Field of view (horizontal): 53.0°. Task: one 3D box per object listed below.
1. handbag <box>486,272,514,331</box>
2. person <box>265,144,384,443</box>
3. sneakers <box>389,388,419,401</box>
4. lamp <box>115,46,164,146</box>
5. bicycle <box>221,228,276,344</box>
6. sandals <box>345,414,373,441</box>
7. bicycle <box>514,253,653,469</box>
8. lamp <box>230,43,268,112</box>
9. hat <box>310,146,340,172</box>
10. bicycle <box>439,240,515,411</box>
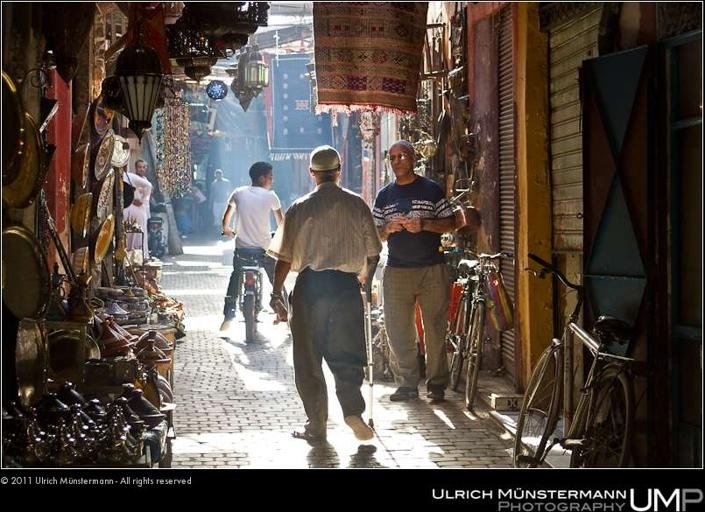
[{"bbox_3d":[1.472,0.432,7.077,0.267,0.602,0.259,-1,-3,13],"label":"handbag"},{"bbox_3d":[-0.230,0.307,6.287,0.950,2.639,0.345,0,-3,2],"label":"person"},{"bbox_3d":[0.547,1.474,7.593,0.301,0.153,0.126,2,-7,-8],"label":"sneakers"},{"bbox_3d":[-1.772,-1.409,5.854,0.343,0.785,0.367,-4,8,-27],"label":"lamp"},{"bbox_3d":[-1.673,0.415,10.979,0.790,1.173,1.820,2,6,0],"label":"bicycle"},{"bbox_3d":[0.051,1.479,6.128,0.145,0.117,0.267,-2,29,-35],"label":"sandals"},{"bbox_3d":[1.588,0.775,5.054,0.760,1.634,1.817,0,-3,3],"label":"bicycle"},{"bbox_3d":[-2.323,-4.116,16.050,0.585,1.513,0.968,3,-4,-42],"label":"lamp"},{"bbox_3d":[-0.265,-0.922,6.576,0.279,0.232,0.474,-3,16,-3],"label":"hat"},{"bbox_3d":[1.326,0.743,7.442,0.635,1.655,1.480,0,-3,3],"label":"bicycle"}]
